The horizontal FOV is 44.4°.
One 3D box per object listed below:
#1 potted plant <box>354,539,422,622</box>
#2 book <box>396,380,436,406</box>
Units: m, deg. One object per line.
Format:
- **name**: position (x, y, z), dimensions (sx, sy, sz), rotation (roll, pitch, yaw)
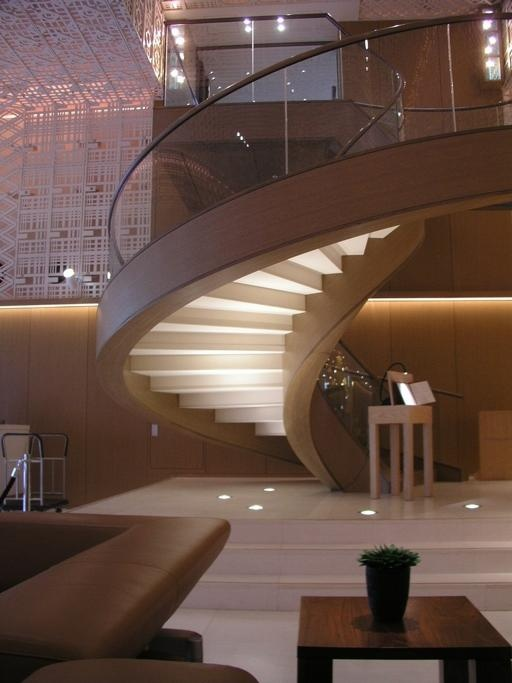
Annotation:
- **potted plant**: position (0.415, 0.765, 1.984), dimensions (0.203, 0.198, 0.191), rotation (6, -16, -14)
- **book**: position (1.331, 0.438, 5.246), dimensions (0.260, 0.192, 0.485), rotation (-2, -2, 21)
